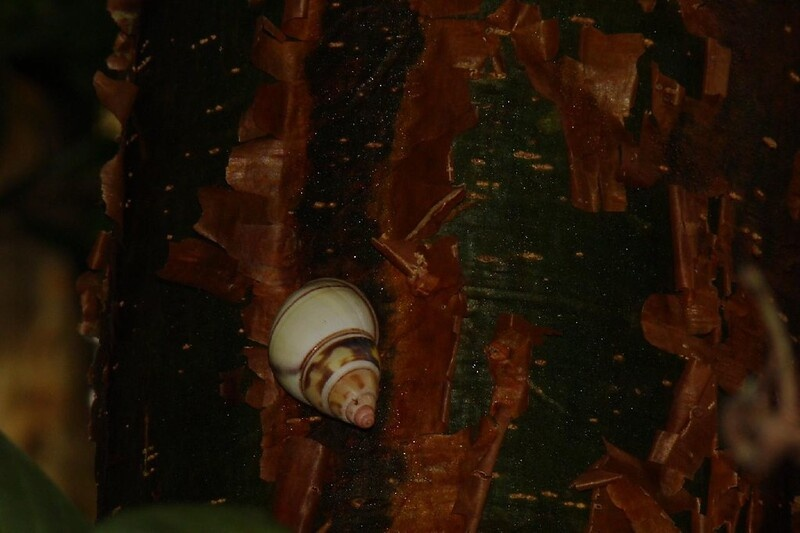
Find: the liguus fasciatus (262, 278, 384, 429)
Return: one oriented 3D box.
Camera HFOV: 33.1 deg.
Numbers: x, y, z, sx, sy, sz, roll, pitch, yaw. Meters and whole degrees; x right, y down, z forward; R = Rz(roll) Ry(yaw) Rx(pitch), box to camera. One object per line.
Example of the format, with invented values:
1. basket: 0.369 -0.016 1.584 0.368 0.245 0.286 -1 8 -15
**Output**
1. liguus fasciatus: -0.119 0.155 2.683 0.269 0.201 0.138 49 16 3
